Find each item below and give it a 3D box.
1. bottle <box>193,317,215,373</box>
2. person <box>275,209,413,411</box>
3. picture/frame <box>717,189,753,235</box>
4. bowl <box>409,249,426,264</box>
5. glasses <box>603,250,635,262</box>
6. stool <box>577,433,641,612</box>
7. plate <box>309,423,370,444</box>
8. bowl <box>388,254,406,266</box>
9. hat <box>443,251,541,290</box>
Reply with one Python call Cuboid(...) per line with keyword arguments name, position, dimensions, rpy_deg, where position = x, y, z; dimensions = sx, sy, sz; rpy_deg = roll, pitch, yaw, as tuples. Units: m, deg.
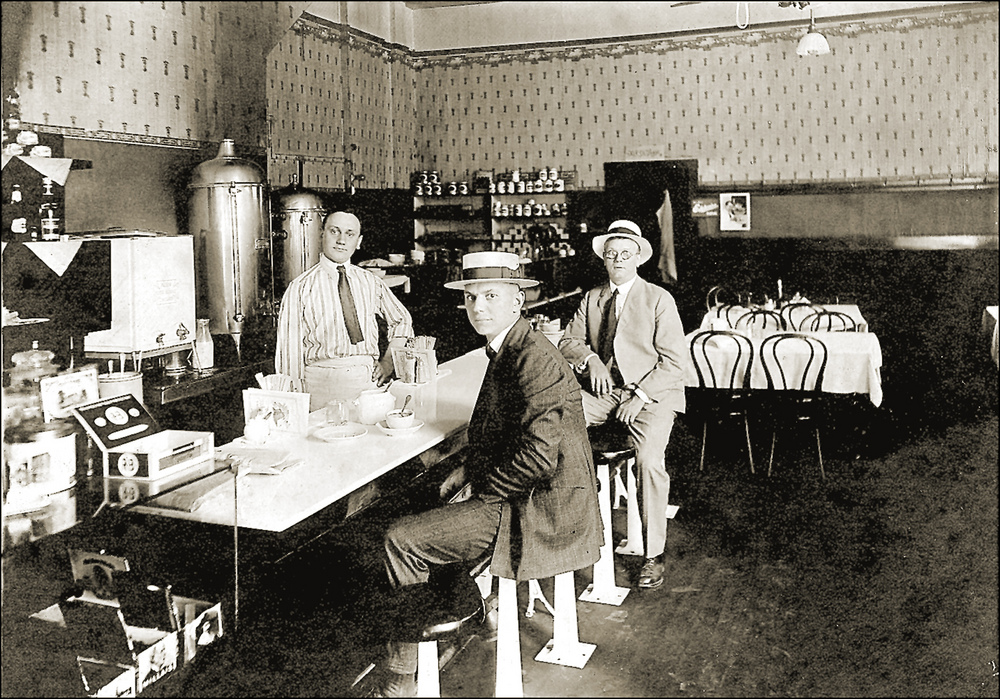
Cuboid(name="bottle", position=(-1.480, -0.029, 4.273), dimensions=(0.090, 0.254, 0.182), rpy_deg=(0, 6, -10))
Cuboid(name="person", position=(-0.820, -0.184, 4.315), dimensions=(0.473, 1.147, 0.576), rpy_deg=(17, 20, 41))
Cuboid(name="picture/frame", position=(0.986, -0.592, 3.579), dimensions=(0.168, 0.239, 0.019), rpy_deg=(0, 4, 4))
Cuboid(name="bowl", position=(-0.592, -0.690, 6.198), dimensions=(0.110, 0.122, 0.115), rpy_deg=(-1, 11, 0))
Cuboid(name="glasses", position=(0.562, -0.443, 3.983), dimensions=(0.138, 0.054, 0.045), rpy_deg=(0, 6, -2))
Cuboid(name="stool", position=(0.525, 0.780, 3.876), dimensions=(0.281, 0.669, 0.313), rpy_deg=(2, 15, -34))
Cuboid(name="plate", position=(-0.646, 0.321, 3.412), dimensions=(0.219, 0.044, 0.218), rpy_deg=(0, 7, -5))
Cuboid(name="bowl", position=(-0.779, -0.696, 6.478), dimensions=(0.132, 0.079, 0.126), rpy_deg=(0, 8, 0))
Cuboid(name="hat", position=(-0.012, -0.291, 3.106), dimensions=(0.312, 0.144, 0.214), rpy_deg=(-5, 8, -41))
